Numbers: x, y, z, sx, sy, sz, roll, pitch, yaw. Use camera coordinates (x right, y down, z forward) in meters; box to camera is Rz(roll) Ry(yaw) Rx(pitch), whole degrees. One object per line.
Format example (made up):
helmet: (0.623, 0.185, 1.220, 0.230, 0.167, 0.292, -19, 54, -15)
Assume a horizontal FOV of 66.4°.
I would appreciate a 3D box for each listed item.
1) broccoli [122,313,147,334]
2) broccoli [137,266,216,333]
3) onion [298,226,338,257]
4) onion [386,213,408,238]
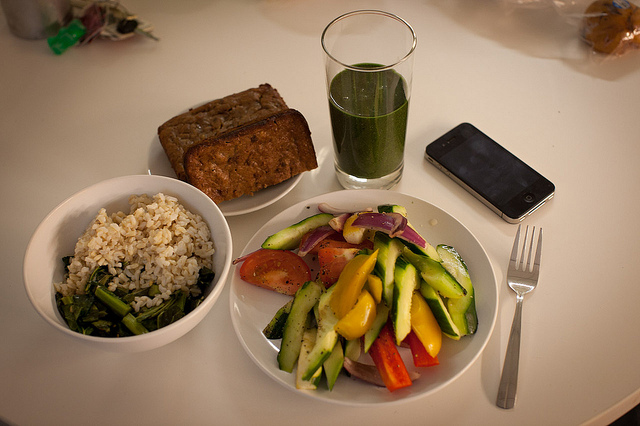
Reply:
broccoli: (-0.504, 0.299, 1.328, 0.034, 0.020, 0.067, -44, 88, -10)
broccoli: (-0.397, 0.251, 1.369, 0.126, 0.056, 0.209, 34, 81, 3)
onion: (-0.012, 0.071, 1.462, 0.110, 0.027, 0.075, -37, 60, -14)
onion: (0.219, 0.036, 1.406, 0.050, 0.023, 0.086, -13, 55, 14)
